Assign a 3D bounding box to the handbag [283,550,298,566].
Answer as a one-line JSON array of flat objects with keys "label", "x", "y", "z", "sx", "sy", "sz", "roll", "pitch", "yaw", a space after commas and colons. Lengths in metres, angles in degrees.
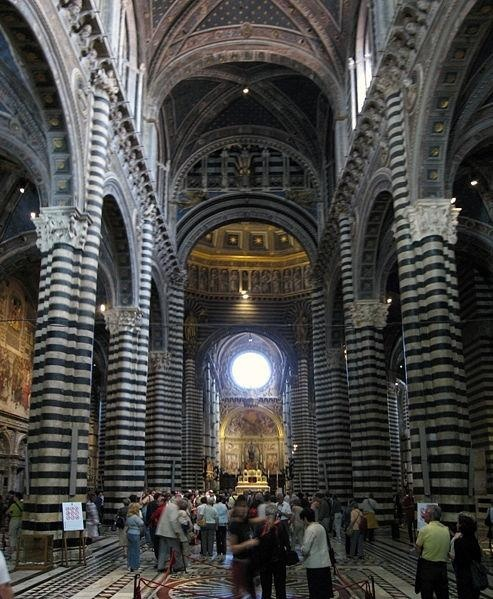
[{"label": "handbag", "x": 0.486, "y": 2.815, "z": 6.165, "sx": 0.145, "sy": 0.150, "sz": 0.354, "roll": -3, "pitch": -16, "yaw": 1}]
